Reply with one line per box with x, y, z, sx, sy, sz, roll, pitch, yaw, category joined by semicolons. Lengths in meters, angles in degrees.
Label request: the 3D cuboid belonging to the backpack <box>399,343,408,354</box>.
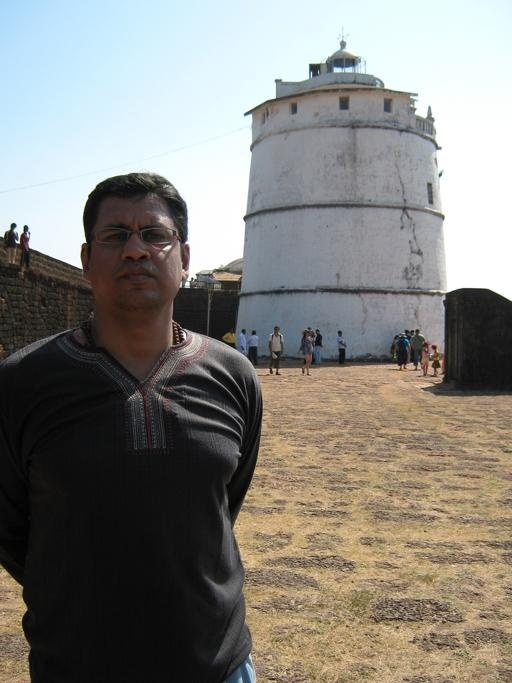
5.032;0.220;18.668;0.356;0.511;0.261;0;2;1;backpack
